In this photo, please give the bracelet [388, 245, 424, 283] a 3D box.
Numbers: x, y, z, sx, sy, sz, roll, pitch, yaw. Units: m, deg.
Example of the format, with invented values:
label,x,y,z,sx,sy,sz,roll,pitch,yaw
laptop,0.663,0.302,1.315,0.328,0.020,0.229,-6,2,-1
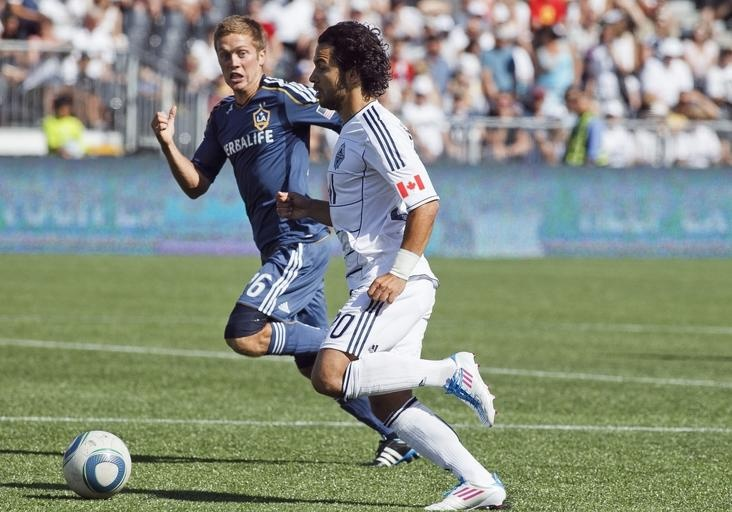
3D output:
label,x,y,z,sx,sy,sz,roll,pitch,yaw
bracelet,0.292,0.059,11.522,0.198,0.231,0.147,28,8,-6
